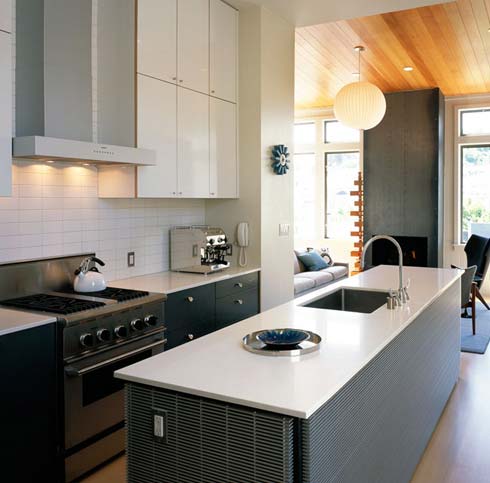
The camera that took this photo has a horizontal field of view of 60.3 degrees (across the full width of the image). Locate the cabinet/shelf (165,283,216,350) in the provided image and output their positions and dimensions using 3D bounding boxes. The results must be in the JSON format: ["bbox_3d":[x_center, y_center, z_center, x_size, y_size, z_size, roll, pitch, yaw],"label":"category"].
[{"bbox_3d":[-0.400,0.522,3.068,0.294,0.374,0.514,-1,1,28],"label":"cabinet/shelf"}]

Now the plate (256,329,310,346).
[{"bbox_3d":[0.144,0.382,1.659,0.212,0.042,0.146,1,4,6],"label":"plate"}]

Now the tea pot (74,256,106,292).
[{"bbox_3d":[-1.003,0.215,2.785,0.163,0.231,0.235,-3,3,39],"label":"tea pot"}]

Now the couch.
[{"bbox_3d":[1.195,0.463,6.952,0.512,0.671,1.570,3,3,39],"label":"couch"}]

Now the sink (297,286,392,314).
[{"bbox_3d":[0.651,0.412,2.809,0.617,0.181,0.250,-2,4,-26],"label":"sink"}]

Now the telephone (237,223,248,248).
[{"bbox_3d":[-0.026,-0.074,3.945,0.043,0.202,0.129,2,-1,-25],"label":"telephone"}]

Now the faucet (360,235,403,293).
[{"bbox_3d":[0.824,0.172,2.542,0.259,0.472,0.102,-7,29,12],"label":"faucet"}]

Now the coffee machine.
[{"bbox_3d":[-0.372,0.065,3.779,0.461,0.424,0.366,-2,3,26],"label":"coffee machine"}]

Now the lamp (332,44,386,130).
[{"bbox_3d":[1.212,-1.642,4.495,0.505,1.005,0.580,2,-3,-7],"label":"lamp"}]
